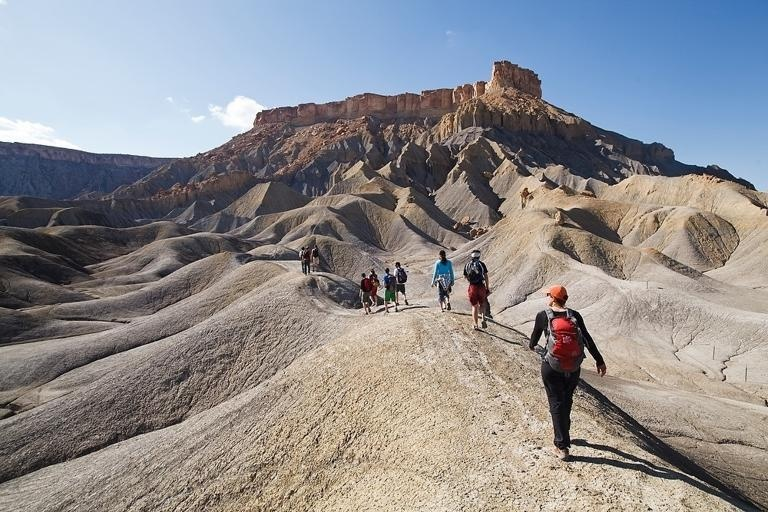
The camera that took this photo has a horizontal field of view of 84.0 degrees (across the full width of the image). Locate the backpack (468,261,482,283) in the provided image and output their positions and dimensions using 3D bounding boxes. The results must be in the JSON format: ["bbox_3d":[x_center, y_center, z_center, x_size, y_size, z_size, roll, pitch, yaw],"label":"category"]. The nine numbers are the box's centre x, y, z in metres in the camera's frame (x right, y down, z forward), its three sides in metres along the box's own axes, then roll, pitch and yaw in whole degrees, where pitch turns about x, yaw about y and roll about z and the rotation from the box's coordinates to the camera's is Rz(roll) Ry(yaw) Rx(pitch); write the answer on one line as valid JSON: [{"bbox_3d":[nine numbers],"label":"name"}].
[{"bbox_3d":[3.940,0.703,18.502,0.613,0.991,0.337,3,11,12],"label":"backpack"}]
